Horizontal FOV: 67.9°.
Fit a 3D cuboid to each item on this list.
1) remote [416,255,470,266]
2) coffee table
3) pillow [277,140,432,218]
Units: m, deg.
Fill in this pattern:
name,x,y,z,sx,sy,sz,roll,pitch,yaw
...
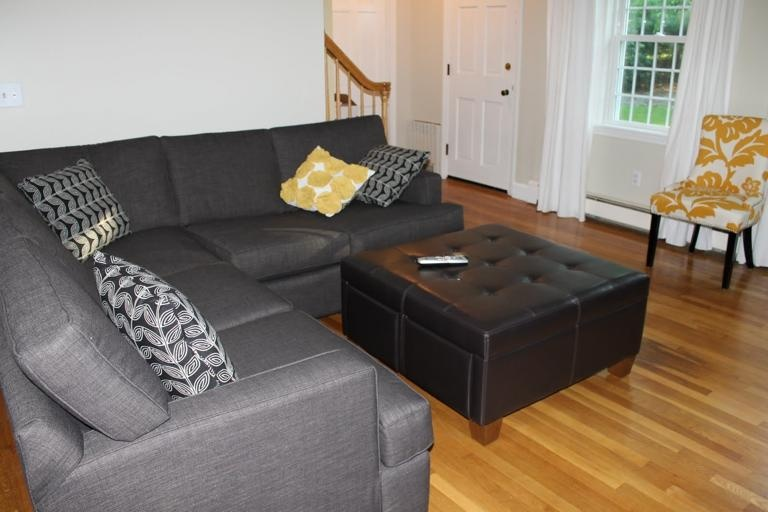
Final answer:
name,x,y,z,sx,sy,sz,roll,pitch,yaw
remote,0.321,0.026,3.103,0.217,0.048,0.102,0,7,-3
coffee table,0.706,0.265,2.963,1.179,0.534,1.158,-12,22,-35
pillow,-0.229,-0.522,4.019,0.714,0.180,0.680,23,51,16
